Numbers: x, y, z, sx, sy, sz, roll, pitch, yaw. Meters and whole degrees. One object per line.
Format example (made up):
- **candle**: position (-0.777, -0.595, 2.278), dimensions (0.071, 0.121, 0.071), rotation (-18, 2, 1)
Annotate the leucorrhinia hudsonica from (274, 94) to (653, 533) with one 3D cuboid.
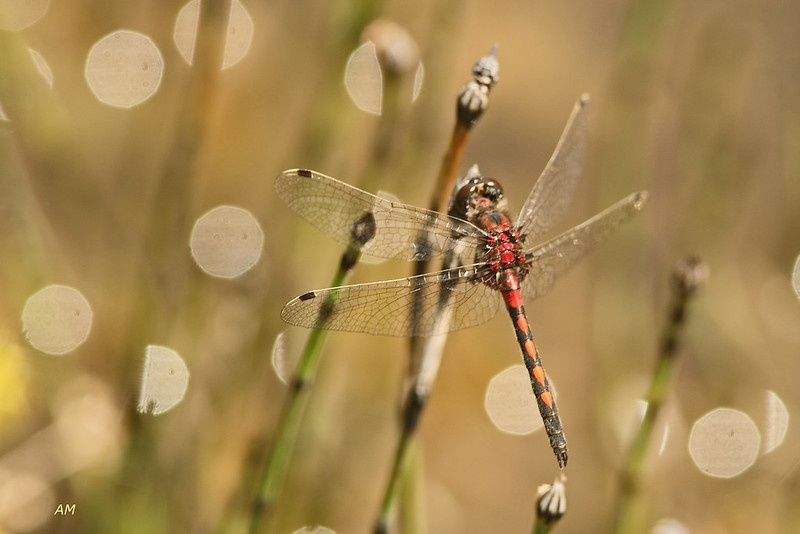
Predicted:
- **leucorrhinia hudsonica**: position (0.132, 0.011, 0.982), dimensions (0.454, 0.374, 0.251), rotation (-18, -56, -20)
